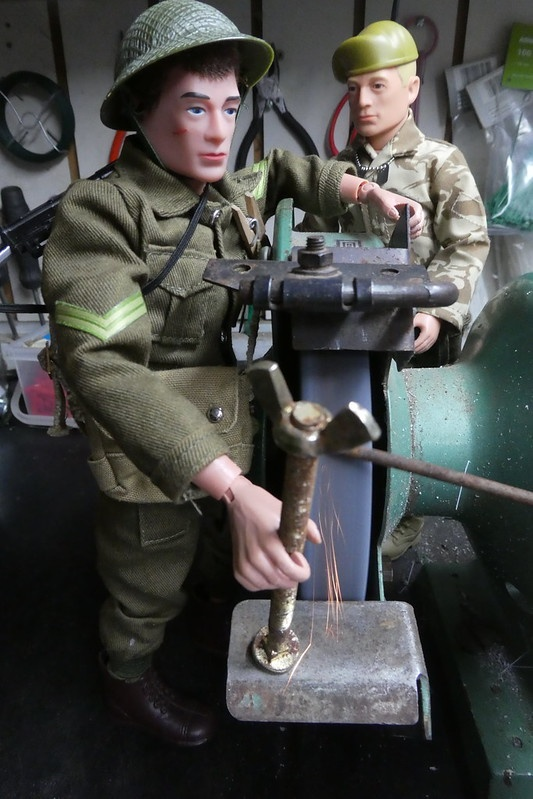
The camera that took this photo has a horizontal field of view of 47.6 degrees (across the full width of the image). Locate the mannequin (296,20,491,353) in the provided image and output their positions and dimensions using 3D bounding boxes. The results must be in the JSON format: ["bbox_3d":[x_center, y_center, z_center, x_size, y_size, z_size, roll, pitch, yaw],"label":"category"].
[{"bbox_3d":[0.374,-0.483,1.524,0.276,0.791,0.625,-10,34,-12],"label":"mannequin"}]

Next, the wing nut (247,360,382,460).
[{"bbox_3d":[0.061,0.005,0.668,0.129,0.227,0.057,18,74,10],"label":"wing nut"}]

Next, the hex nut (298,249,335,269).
[{"bbox_3d":[0.063,-0.179,0.783,0.033,0.019,0.030,9,16,39],"label":"hex nut"}]
